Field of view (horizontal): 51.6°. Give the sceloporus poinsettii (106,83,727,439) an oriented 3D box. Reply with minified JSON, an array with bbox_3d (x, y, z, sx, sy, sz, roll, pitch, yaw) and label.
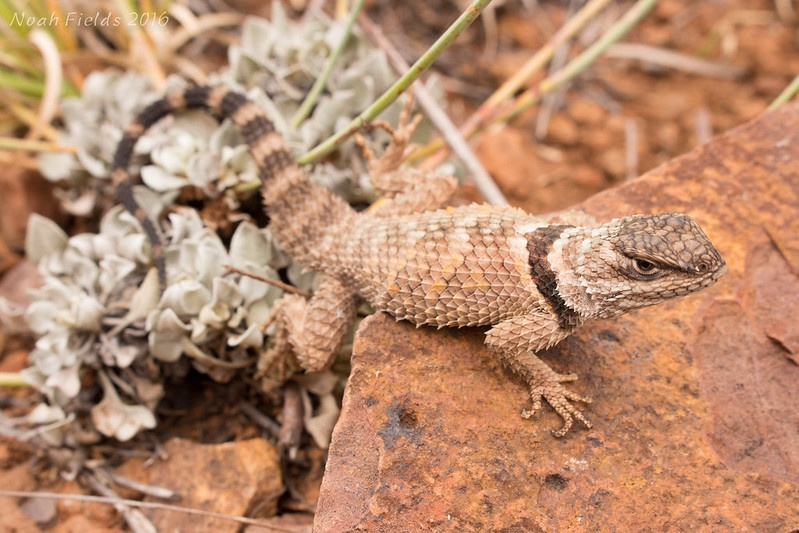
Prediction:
[{"bbox_3d":[0.274,-0.013,4.658,3.079,0.668,1.843,10,72,14],"label":"sceloporus poinsettii"}]
